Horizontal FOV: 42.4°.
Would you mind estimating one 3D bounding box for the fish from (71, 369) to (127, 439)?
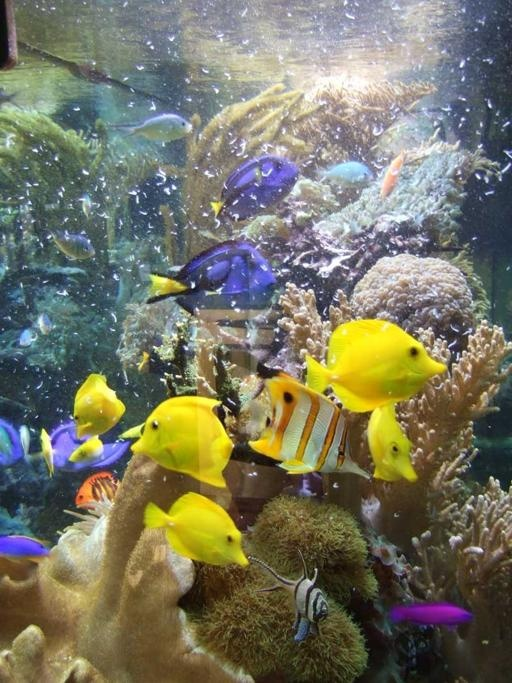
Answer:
[{"bbox_3d":[-0.676,0.279,2.892,0.234,0.364,0.125,11,1,4],"label":"fish"}]

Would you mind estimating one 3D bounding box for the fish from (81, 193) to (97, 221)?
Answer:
[{"bbox_3d":[-1.532,-1.214,5.969,0.124,0.201,0.184,-1,33,-19],"label":"fish"}]

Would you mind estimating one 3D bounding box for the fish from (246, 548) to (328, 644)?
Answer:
[{"bbox_3d":[0.081,0.850,2.241,0.155,0.188,0.351,28,-11,-33],"label":"fish"}]

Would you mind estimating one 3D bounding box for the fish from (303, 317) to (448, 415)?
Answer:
[{"bbox_3d":[0.405,0.099,2.271,0.403,0.258,0.104,-5,3,11],"label":"fish"}]

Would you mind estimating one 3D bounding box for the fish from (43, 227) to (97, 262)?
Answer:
[{"bbox_3d":[-1.237,-0.644,4.475,0.248,0.228,0.259,3,31,-12],"label":"fish"}]

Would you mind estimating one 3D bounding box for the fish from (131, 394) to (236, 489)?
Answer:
[{"bbox_3d":[-0.239,0.356,2.280,0.318,0.250,0.073,12,15,13],"label":"fish"}]

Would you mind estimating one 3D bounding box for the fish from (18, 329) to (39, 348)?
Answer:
[{"bbox_3d":[-2.160,-0.034,6.204,0.133,0.113,0.204,2,-11,-27],"label":"fish"}]

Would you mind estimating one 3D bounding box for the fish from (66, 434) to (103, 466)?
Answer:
[{"bbox_3d":[-0.831,0.513,3.163,0.180,0.091,0.104,-40,57,-10],"label":"fish"}]

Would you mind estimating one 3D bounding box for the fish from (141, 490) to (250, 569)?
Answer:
[{"bbox_3d":[-0.186,0.614,2.166,0.377,0.184,0.111,21,33,18],"label":"fish"}]
